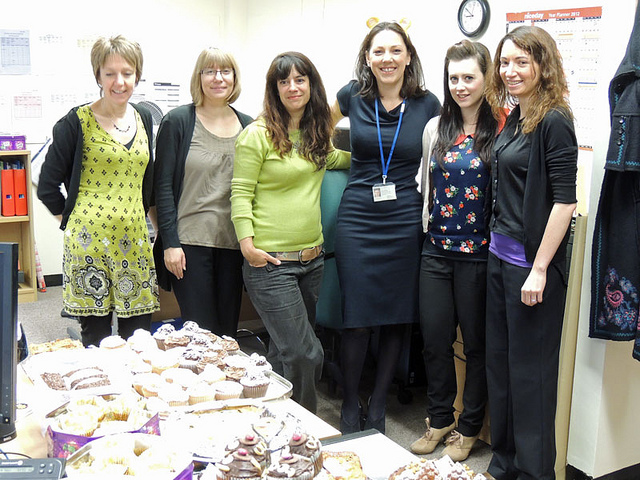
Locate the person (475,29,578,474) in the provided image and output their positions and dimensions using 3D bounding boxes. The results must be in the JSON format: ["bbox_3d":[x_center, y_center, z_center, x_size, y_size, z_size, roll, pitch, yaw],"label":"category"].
[{"bbox_3d":[0.968,0.142,2.259,0.350,2.104,0.252,2,11,19],"label":"person"}]

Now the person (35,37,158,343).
[{"bbox_3d":[-1.069,-0.216,2.353,0.537,1.417,0.287,-8,12,-29],"label":"person"}]

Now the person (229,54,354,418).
[{"bbox_3d":[-0.177,-0.005,2.423,0.503,1.747,0.303,-2,10,-2],"label":"person"}]

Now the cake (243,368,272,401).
[{"bbox_3d":[-0.213,0.480,1.641,0.095,0.067,0.098,-3,11,-7],"label":"cake"}]

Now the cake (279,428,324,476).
[{"bbox_3d":[-0.046,0.533,1.233,0.087,0.091,0.090,7,15,39],"label":"cake"}]

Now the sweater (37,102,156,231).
[{"bbox_3d":[-1.074,-0.316,2.429,0.379,0.709,0.580,9,13,42],"label":"sweater"}]

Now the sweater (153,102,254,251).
[{"bbox_3d":[-0.588,-0.286,2.437,0.608,0.824,0.399,-6,10,-34],"label":"sweater"}]

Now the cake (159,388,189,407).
[{"bbox_3d":[-0.450,0.483,1.499,0.055,0.032,0.061,6,10,7],"label":"cake"}]

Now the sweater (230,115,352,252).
[{"bbox_3d":[-0.088,-0.307,2.556,0.812,0.764,0.344,-2,6,-39],"label":"sweater"}]
